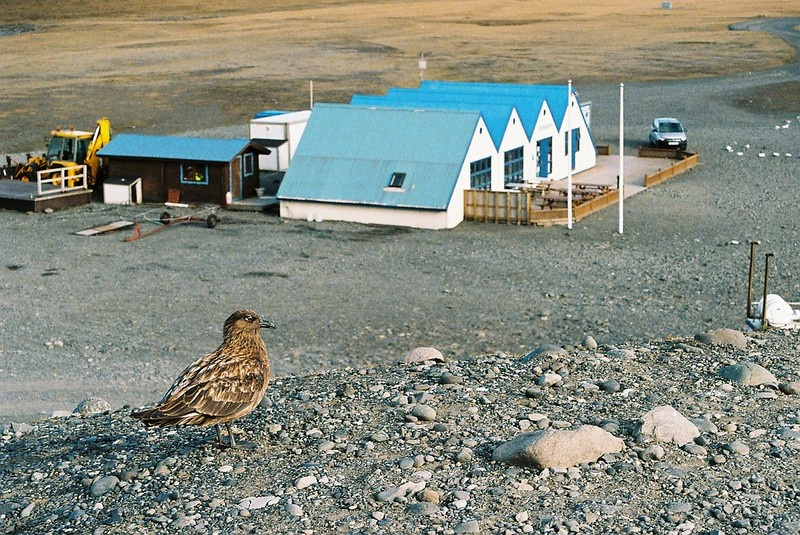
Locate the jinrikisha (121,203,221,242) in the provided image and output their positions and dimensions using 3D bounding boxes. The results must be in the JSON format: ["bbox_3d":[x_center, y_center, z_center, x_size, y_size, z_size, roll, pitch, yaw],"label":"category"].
[{"bbox_3d":[-9.395,-1.911,49.427,1.696,0.688,2.829,10,22,30],"label":"jinrikisha"}]

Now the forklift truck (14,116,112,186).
[{"bbox_3d":[-16.177,-5.154,54.281,4.874,3.198,2.408,7,14,11],"label":"forklift truck"}]

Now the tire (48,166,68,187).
[{"bbox_3d":[-15.033,-4.032,52.316,0.735,0.903,2.288,-8,17,-15],"label":"tire"}]

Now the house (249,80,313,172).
[{"bbox_3d":[-6.279,-7.198,61.109,2.021,3.197,5.511,8,26,12],"label":"house"}]

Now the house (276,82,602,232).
[{"bbox_3d":[1.817,-5.208,54.061,8.870,4.631,14.451,11,21,40],"label":"house"}]

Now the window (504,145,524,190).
[{"bbox_3d":[5.229,-4.586,54.800,0.152,1.796,1.899,5,16,33],"label":"window"}]

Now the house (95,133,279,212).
[{"bbox_3d":[-9.651,-4.342,53.446,6.197,2.727,2.241,2,17,17],"label":"house"}]

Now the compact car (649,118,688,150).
[{"bbox_3d":[14.679,-7.238,64.915,1.458,1.079,2.347,1,10,3],"label":"compact car"}]
